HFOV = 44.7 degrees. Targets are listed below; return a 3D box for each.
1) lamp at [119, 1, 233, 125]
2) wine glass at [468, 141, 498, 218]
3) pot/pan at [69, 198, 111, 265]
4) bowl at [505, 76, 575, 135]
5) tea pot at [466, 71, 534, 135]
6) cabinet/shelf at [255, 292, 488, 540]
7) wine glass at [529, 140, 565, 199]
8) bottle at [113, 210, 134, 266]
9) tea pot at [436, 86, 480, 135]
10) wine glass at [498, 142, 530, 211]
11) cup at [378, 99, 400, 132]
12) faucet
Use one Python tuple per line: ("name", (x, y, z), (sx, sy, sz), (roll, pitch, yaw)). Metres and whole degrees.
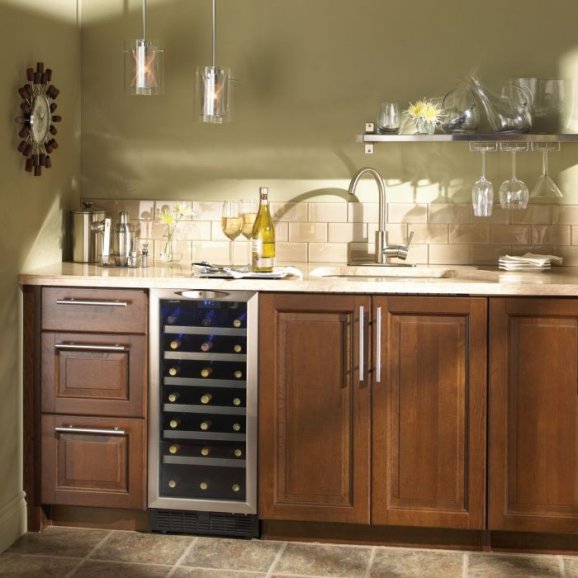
("lamp", (-0.468, -1.004, 3.027), (0.461, 0.579, 0.504), (0, 8, -2))
("wine glass", (0.813, -0.460, 2.952), (0.112, 0.324, 0.352), (2, 8, 15))
("pot/pan", (-0.901, -0.270, 3.164), (0.158, 0.274, 0.162), (2, 7, -2))
("bowl", (1.075, -0.779, 3.013), (0.256, 0.202, 0.197), (0, 6, 7))
("tea pot", (0.885, -0.755, 2.938), (0.317, 0.309, 0.204), (-2, -1, 4))
("cabinet/shelf", (0.367, 0.478, 2.743), (0.898, 0.888, 0.427), (-2, -7, 23))
("wine glass", (1.082, -0.500, 2.935), (0.135, 0.258, 0.305), (3, 9, 20))
("bottle", (-0.710, -0.213, 3.015), (0.085, 0.218, 0.189), (-2, 8, -14))
("tea pot", (0.710, -0.716, 2.887), (0.167, 0.246, 0.180), (4, 3, 0))
("wine glass", (0.943, -0.475, 2.939), (0.132, 0.287, 0.335), (2, 9, 18))
("cup", (0.416, -0.717, 2.937), (0.084, 0.132, 0.112), (-1, 8, -8))
("faucet", (0.403, -0.320, 3.030), (0.282, 0.415, 0.297), (1, 8, 6))
